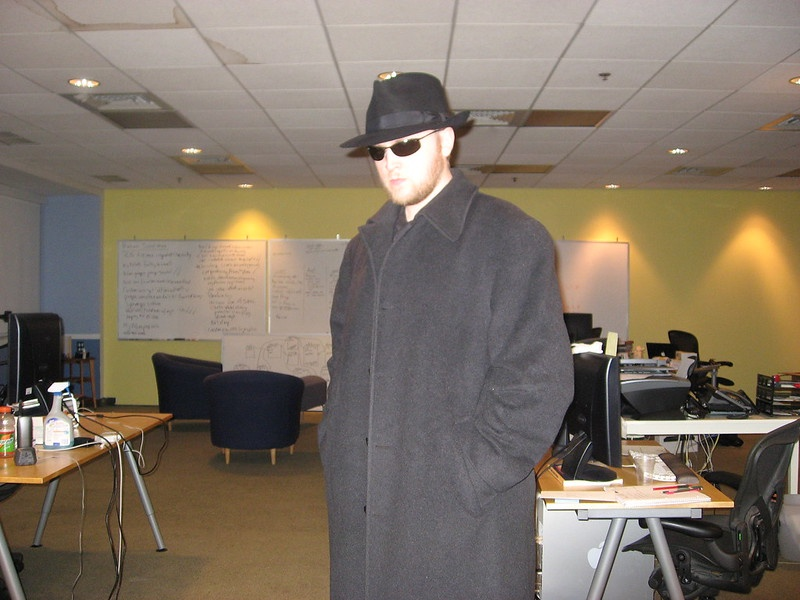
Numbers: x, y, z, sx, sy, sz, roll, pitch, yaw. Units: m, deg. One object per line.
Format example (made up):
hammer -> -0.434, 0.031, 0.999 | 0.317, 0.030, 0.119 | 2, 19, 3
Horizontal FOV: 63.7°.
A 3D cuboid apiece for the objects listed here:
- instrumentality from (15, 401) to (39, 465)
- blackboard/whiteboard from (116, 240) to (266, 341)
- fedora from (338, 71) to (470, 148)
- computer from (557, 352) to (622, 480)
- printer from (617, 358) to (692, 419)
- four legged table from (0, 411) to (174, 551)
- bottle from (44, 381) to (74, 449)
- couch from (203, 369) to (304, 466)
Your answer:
instrumentality -> -1.905, 0.717, 3.278 | 0.089, 0.226, 0.188 | -4, 9, -29
blackboard/whiteboard -> -2.685, -0.131, 8.299 | 2.403, 1.325, 0.032 | 0, 0, 23
fedora -> 0.027, -0.659, 2.296 | 0.317, 0.147, 0.359 | -10, -1, 43
computer -> 0.948, 0.607, 3.236 | 0.266, 0.590, 0.703 | -3, -6, 13
printer -> 1.450, 0.514, 3.682 | 0.419, 0.181, 0.514 | 0, -2, 5
four legged table -> -2.025, 1.211, 4.137 | 0.682, 0.507, 1.164 | 0, 2, 4
bottle -> -1.854, 0.608, 3.497 | 0.144, 0.358, 0.273 | -3, 9, -25
couch -> -1.260, 1.103, 5.954 | 1.023, 0.749, 0.817 | -3, -12, 13
